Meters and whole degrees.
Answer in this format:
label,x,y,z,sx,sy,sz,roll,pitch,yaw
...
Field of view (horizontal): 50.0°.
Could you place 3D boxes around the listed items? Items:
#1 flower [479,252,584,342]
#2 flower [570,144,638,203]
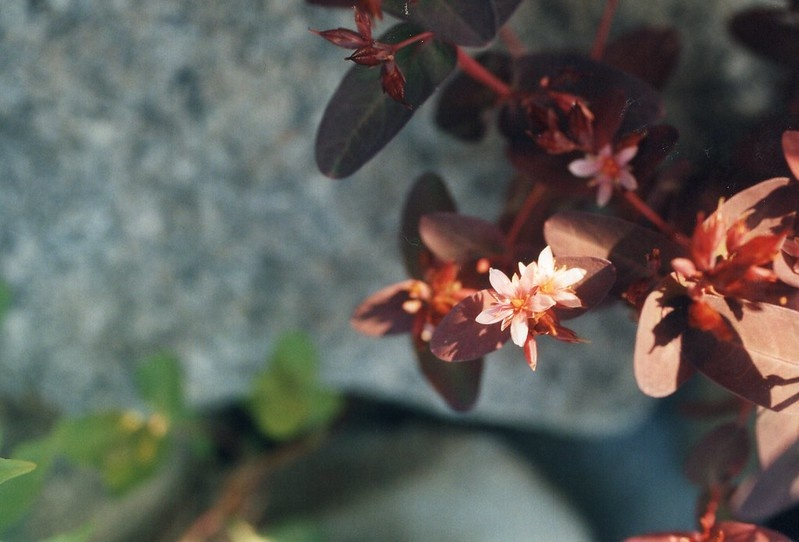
label,x,y,z,sx,sy,sz,roll,pitch,yaw
flower,0.122,0.021,0.808,0.112,0.026,0.072,-30,78,-7
flower,0.197,-0.097,0.814,0.056,0.067,0.021,25,74,-3
